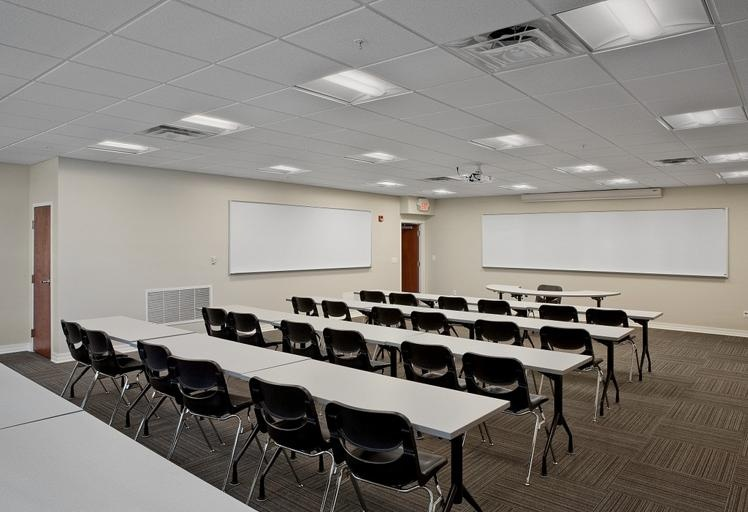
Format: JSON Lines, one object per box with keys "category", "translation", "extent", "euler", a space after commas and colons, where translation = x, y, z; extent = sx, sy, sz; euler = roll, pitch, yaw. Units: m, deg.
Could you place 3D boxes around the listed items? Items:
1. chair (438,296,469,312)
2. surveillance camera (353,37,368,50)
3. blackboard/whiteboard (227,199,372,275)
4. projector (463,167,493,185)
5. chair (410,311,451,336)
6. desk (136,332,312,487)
{"category": "chair", "translation": [1.417, 0.789, 7.888], "extent": [0.328, 0.390, 0.306], "euler": [4, 8, 38]}
{"category": "surveillance camera", "translation": [-0.103, -1.749, 3.642], "extent": [0.117, 0.031, 0.148], "euler": [3, 5, 29]}
{"category": "blackboard/whiteboard", "translation": [-1.646, -0.439, 10.686], "extent": [3.895, 1.659, 0.190], "euler": [-4, 7, -44]}
{"category": "projector", "translation": [2.035, -1.586, 8.668], "extent": [0.366, 0.200, 0.529], "euler": [-1, -2, 42]}
{"category": "chair", "translation": [0.804, 0.941, 6.306], "extent": [0.420, 0.580, 0.439], "euler": [2, 5, 36]}
{"category": "desk", "translation": [-1.466, 1.479, 4.332], "extent": [0.861, 1.098, 0.933], "euler": [0, 2, 5]}
